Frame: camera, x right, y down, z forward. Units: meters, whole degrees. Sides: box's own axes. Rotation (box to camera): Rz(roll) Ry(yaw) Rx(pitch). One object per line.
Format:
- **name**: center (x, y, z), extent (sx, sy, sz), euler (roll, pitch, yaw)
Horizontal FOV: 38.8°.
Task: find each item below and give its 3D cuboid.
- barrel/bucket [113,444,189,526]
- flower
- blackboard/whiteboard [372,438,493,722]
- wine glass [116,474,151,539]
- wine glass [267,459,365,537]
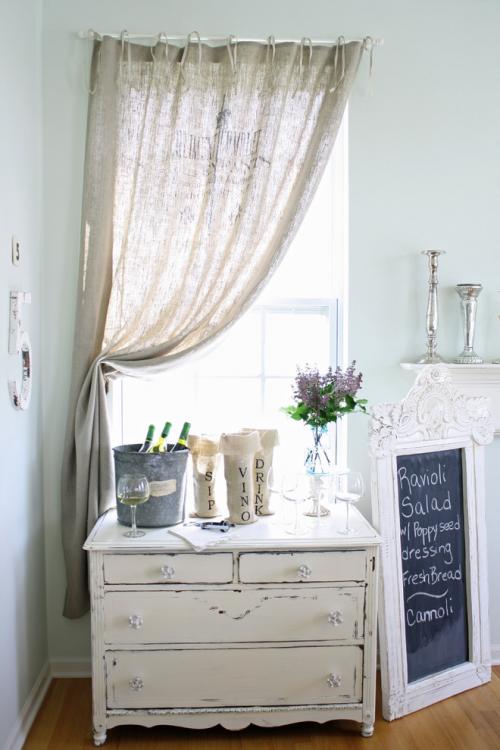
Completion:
- **barrel/bucket**: center (-0.306, 0.317, 2.235), extent (0.196, 0.249, 0.224), euler (1, 2, 6)
- **flower**: center (0.240, 0.203, 2.312), extent (0.238, 0.492, 0.234), euler (2, -6, -7)
- **blackboard/whiteboard**: center (0.602, 0.644, 2.319), extent (0.467, 0.835, 0.103), euler (-3, 4, -30)
- **wine glass**: center (-0.350, 0.384, 2.137), extent (0.096, 0.185, 0.147), euler (-2, 4, -11)
- **wine glass**: center (0.208, 0.392, 2.252), extent (0.215, 0.172, 0.189), euler (-1, 0, -7)
